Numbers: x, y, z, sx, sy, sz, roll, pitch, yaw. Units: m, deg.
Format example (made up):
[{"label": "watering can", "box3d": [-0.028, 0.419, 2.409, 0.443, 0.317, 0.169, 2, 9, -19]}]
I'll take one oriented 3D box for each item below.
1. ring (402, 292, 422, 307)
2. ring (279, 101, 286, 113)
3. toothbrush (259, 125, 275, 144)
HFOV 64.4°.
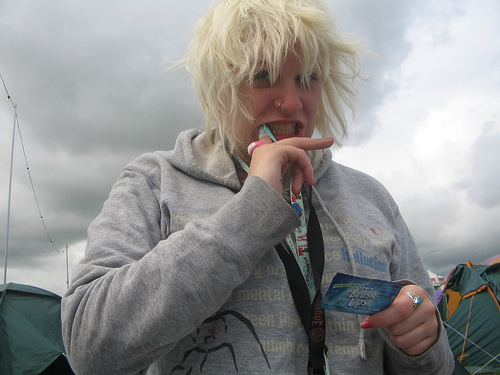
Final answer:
[{"label": "ring", "box3d": [0.651, 0.439, 1.586, 0.046, 0.051, 0.032, -7, -54, -64]}, {"label": "ring", "box3d": [0.147, -0.369, 1.815, 0.010, 0.041, 0.042, -8, -17, 6]}, {"label": "toothbrush", "box3d": [0.071, -0.256, 1.860, 0.057, 0.073, 0.062, -33, -40, -1]}]
